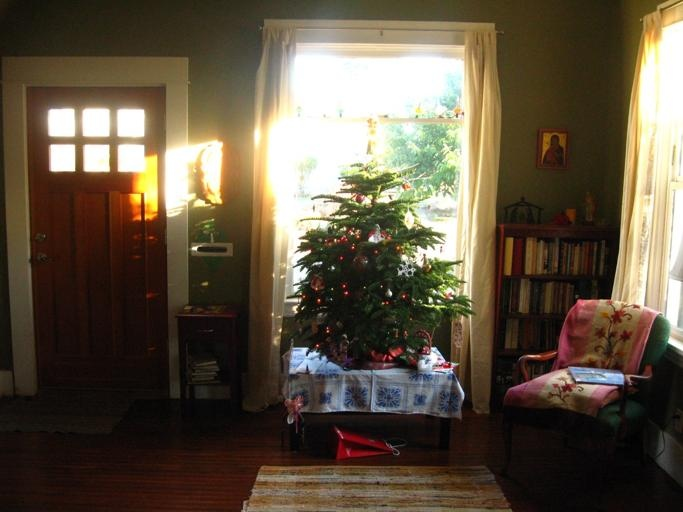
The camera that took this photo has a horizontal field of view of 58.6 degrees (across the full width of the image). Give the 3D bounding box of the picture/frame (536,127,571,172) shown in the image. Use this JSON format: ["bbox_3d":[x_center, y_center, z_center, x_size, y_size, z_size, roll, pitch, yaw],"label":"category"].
[{"bbox_3d":[1.813,-0.938,5.219,0.337,0.452,0.060,1,-1,0],"label":"picture/frame"}]

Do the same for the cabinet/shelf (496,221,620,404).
[{"bbox_3d":[1.823,0.394,5.356,0.998,0.416,1.673,0,27,20],"label":"cabinet/shelf"}]

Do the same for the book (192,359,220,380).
[{"bbox_3d":[-1.140,0.962,5.082,0.171,0.061,0.174,-1,7,-2],"label":"book"}]

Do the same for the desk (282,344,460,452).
[{"bbox_3d":[0.230,1.088,4.702,1.334,0.717,0.497,-1,6,0],"label":"desk"}]

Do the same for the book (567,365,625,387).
[{"bbox_3d":[1.795,0.856,4.306,0.362,0.079,0.257,1,7,21],"label":"book"}]

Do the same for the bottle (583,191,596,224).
[{"bbox_3d":[2.127,-0.418,5.212,0.093,0.262,0.230,1,7,22],"label":"bottle"}]

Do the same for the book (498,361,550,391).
[{"bbox_3d":[1.530,1.009,5.274,0.375,0.293,0.400,-1,1,-10],"label":"book"}]

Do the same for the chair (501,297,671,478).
[{"bbox_3d":[1.784,0.983,4.450,1.089,1.160,0.841,-2,5,-42],"label":"chair"}]
